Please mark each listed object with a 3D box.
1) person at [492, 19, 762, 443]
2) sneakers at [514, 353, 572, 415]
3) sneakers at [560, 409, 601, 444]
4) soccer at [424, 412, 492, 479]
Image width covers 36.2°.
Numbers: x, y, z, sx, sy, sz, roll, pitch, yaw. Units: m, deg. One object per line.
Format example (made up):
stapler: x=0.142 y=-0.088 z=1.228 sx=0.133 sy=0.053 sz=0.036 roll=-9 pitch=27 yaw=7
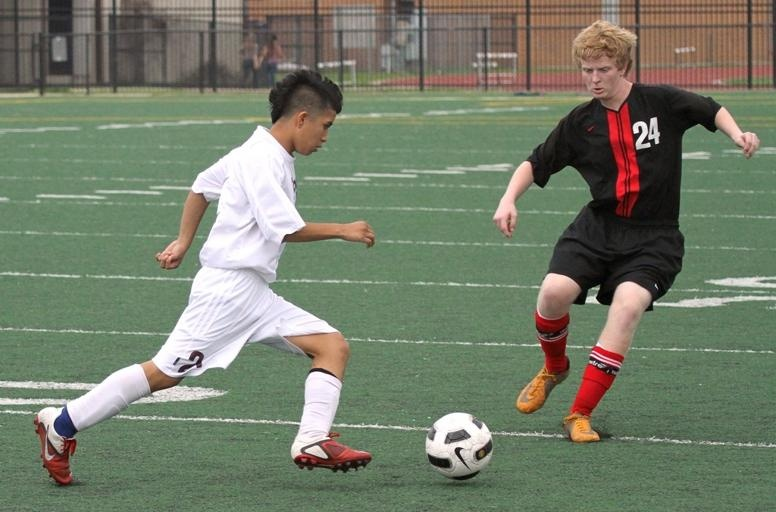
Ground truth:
person: x=1.642 y=-0.187 z=8.722 sx=1.417 sy=3.043 sz=0.667 roll=4 pitch=6 yaw=11
sneakers: x=1.148 y=1.004 z=9.070 sx=0.219 sy=0.597 sz=0.228 roll=41 pitch=-21 yaw=25
sneakers: x=1.437 y=1.236 z=8.676 sx=0.279 sy=0.207 sz=0.221 roll=1 pitch=6 yaw=-10
soccer: x=0.508 y=1.338 z=8.291 sx=0.492 sy=0.409 sz=0.431 roll=-11 pitch=16 yaw=6
